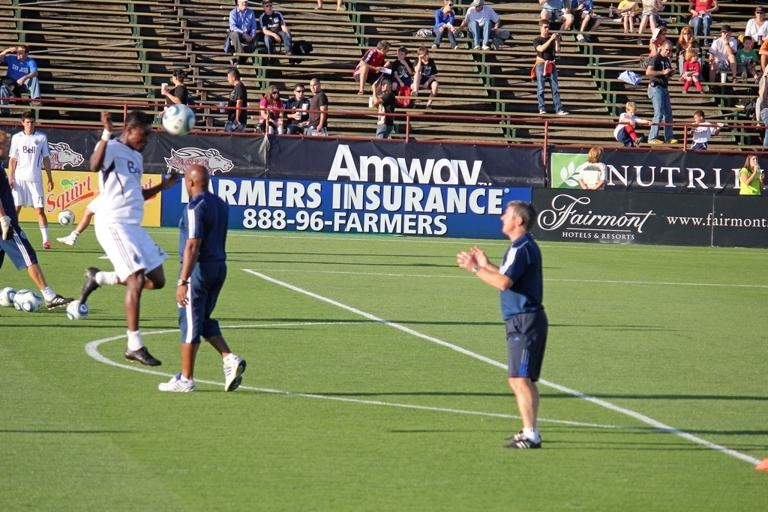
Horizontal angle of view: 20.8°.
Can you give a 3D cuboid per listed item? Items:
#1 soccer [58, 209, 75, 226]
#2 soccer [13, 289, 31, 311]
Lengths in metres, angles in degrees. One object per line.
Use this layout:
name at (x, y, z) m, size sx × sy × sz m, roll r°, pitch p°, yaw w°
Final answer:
soccer at (-9.157, -1.122, 59.446) m, size 0.489 × 0.422 × 0.530 m, roll -4°, pitch -14°, yaw 14°
soccer at (-8.895, 1.064, 51.109) m, size 0.434 × 0.473 × 0.553 m, roll 6°, pitch -1°, yaw -37°
